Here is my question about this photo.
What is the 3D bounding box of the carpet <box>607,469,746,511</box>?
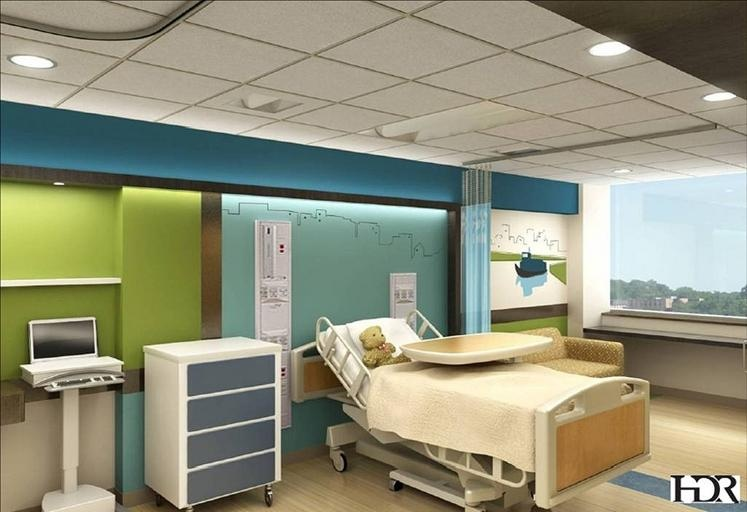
[{"bbox_3d":[2.738,2.123,4.466,0.213,0.008,0.684,-3,0,-31],"label":"carpet"}]

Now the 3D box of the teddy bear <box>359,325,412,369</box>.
[{"bbox_3d":[0.116,0.890,4.844,0.533,0.350,0.338,-2,10,-5],"label":"teddy bear"}]

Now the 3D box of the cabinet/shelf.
[{"bbox_3d":[-1.372,1.452,4.314,1.063,1.383,0.679,0,9,-27],"label":"cabinet/shelf"}]

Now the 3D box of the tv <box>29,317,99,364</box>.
[{"bbox_3d":[-2.563,0.697,4.062,0.444,0.280,0.035,1,-7,-33],"label":"tv"}]

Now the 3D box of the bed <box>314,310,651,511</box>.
[{"bbox_3d":[0.846,1.317,4.493,1.671,1.281,2.551,0,-2,-44],"label":"bed"}]

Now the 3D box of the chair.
[{"bbox_3d":[2.383,1.238,6.072,1.025,0.767,0.997,2,-5,-37],"label":"chair"}]
